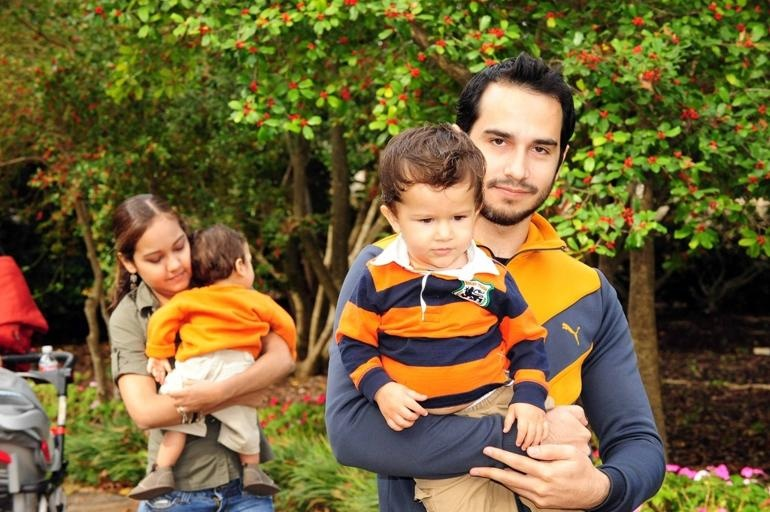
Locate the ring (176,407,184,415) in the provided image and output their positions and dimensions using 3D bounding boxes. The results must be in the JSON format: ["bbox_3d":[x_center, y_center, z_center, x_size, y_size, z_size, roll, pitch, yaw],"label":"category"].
[{"bbox_3d":[-1.236,0.933,4.383,0.036,0.032,0.046,0,-16,-4],"label":"ring"}]
